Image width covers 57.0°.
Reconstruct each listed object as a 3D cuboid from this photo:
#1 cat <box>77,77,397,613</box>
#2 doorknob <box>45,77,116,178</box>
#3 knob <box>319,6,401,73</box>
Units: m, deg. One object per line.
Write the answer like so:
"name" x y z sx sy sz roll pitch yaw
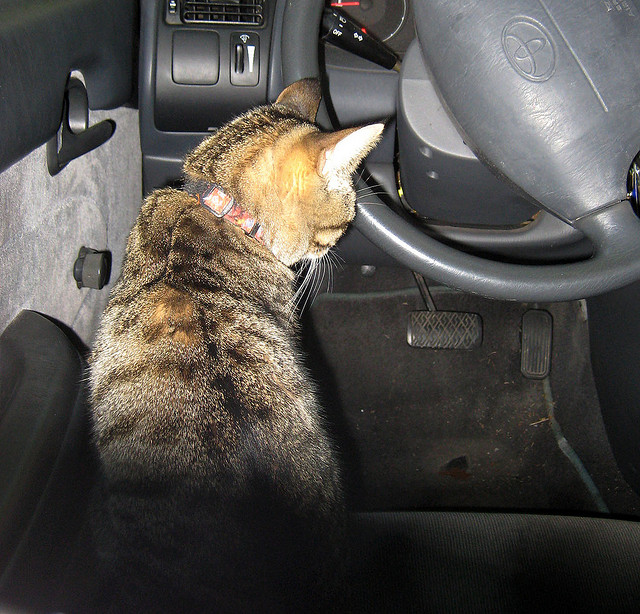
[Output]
"cat" -0.208 0.062 1.341 0.484 0.632 1.156 16 44 10
"doorknob" -0.524 -0.379 1.401 0.179 0.233 0.155 4 37 1
"knob" 0.093 -0.610 1.335 0.262 0.071 0.072 26 29 -20
